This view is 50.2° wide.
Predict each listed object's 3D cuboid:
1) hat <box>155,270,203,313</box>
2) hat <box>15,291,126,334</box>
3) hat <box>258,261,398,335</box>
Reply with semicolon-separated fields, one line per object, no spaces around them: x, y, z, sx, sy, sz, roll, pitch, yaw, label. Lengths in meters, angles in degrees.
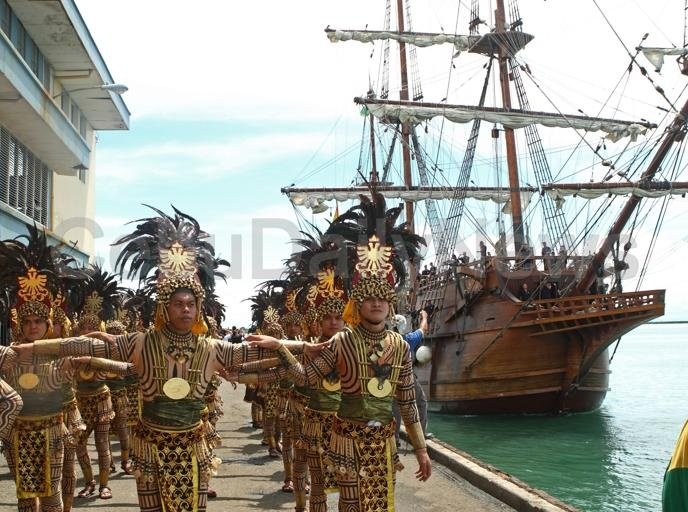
-1.889;0.318;8.399;0.477;0.237;0.447;-11;2;-38;hat
-4.159;0.914;10.915;1.040;0.555;0.690;-5;-2;-2;hat
-0.307;0.599;10.545;1.185;0.743;1.209;1;-8;-3;hat
